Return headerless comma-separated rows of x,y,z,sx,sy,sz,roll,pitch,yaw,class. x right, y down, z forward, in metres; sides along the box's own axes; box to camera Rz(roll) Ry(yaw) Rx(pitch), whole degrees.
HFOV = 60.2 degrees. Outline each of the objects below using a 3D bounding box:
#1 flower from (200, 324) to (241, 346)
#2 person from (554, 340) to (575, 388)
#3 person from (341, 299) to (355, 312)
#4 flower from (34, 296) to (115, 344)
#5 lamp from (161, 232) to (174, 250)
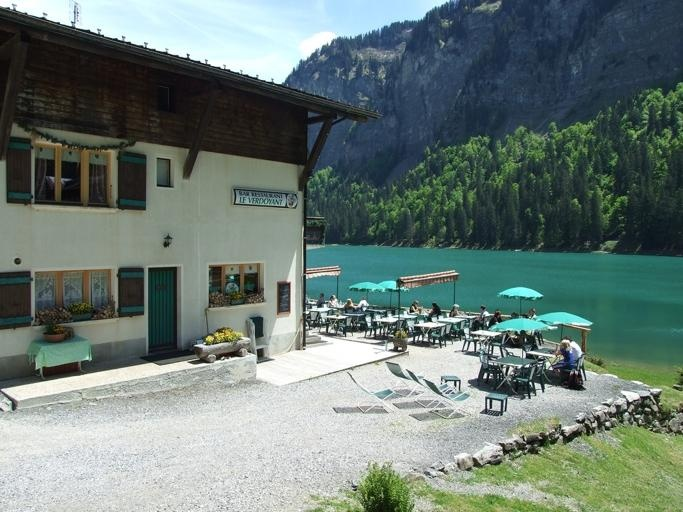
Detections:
-4.220,2.924,20.989,0.657,0.350,0.933,2,7,31,flower
8.432,4.027,22.219,0.729,1.657,0.818,-8,13,-38,person
0.426,2.830,32.928,0.614,1.245,0.692,2,-2,-8,person
-8.649,2.145,19.064,0.604,1.243,2.248,-1,0,42,flower
-6.158,-0.525,20.873,0.387,0.527,0.188,-1,0,-26,lamp
